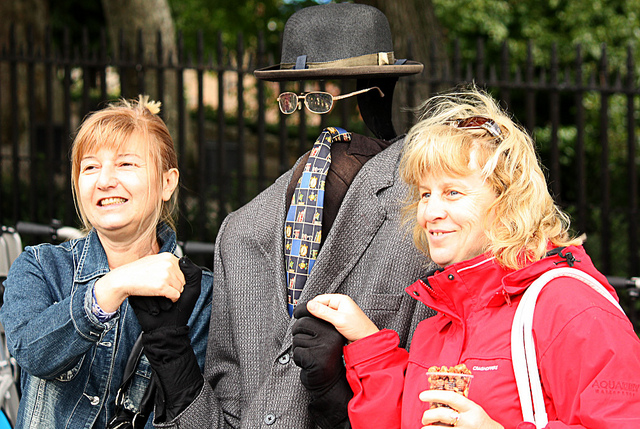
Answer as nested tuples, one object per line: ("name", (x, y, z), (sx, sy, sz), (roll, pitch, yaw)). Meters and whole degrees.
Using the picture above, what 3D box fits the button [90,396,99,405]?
("button", (-1.701, 1.391, 7.637), (0.047, 0.058, 0.012), (0, -11, -15))

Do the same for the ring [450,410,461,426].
("ring", (0.893, 1.348, 6.784), (0.085, 0.102, 0.025), (5, -2, 10))

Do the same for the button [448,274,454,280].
("button", (0.899, 0.431, 7.066), (0.039, 0.036, 0.006), (3, 6, 5))

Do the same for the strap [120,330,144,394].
("strap", (-1.406, 1.119, 7.736), (0.087, 0.402, 0.260), (20, 3, -36))

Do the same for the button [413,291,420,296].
("button", (0.668, 0.555, 7.182), (0.042, 0.029, 0.011), (4, 7, 13))

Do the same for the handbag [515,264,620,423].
("handbag", (1.455, 0.801, 6.771), (0.625, 1.067, 0.247), (11, 0, 20))
